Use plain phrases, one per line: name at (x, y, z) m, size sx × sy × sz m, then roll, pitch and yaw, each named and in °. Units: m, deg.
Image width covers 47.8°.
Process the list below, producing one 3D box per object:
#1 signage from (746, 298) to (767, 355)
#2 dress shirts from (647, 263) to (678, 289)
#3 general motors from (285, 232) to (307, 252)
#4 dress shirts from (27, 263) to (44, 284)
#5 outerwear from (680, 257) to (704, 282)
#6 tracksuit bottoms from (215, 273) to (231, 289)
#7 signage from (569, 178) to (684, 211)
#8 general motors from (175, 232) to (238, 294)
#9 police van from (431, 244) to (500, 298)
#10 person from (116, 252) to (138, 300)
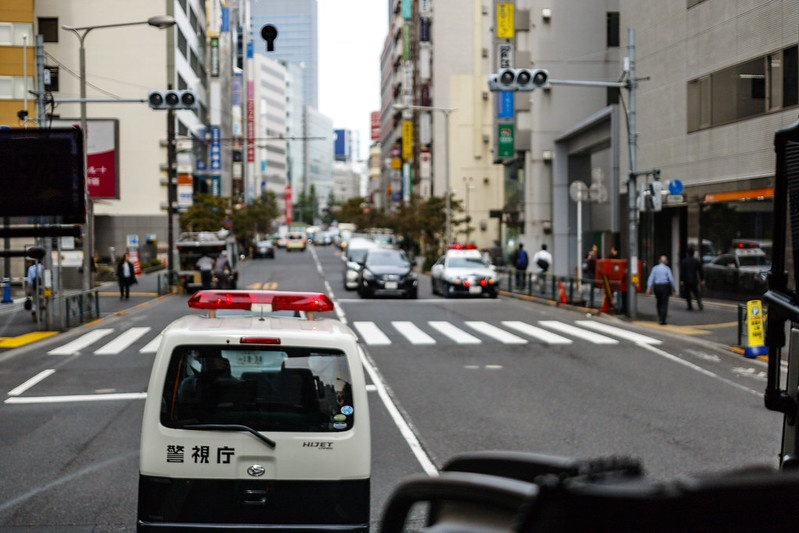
signage at (8.203, 1.366, 20.807) m, size 0.539 × 1.320 × 0.440 m, roll -4°, pitch 18°, yaw 25°
dress shirts at (8.342, 0.307, 28.551) m, size 0.819 × 0.845 × 0.367 m, roll 6°, pitch 19°, yaw 20°
general motors at (-11.762, -2.688, 100.952) m, size 2.062 × 1.875 × 4.775 m, roll 0°, pitch -1°, yaw -4°
dress shirts at (-11.768, 0.223, 29.066) m, size 0.646 × 0.770 × 0.393 m, roll 1°, pitch 4°, yaw -11°
outerwear at (9.655, 0.094, 29.888) m, size 0.713 × 0.858 × 0.446 m, roll 0°, pitch 12°, yaw 7°
tracksuit bottoms at (-7.009, 0.486, 35.186) m, size 0.582 × 0.742 × 0.602 m, roll 0°, pitch -6°, yaw -3°
signage at (7.523, -2.370, 30.685) m, size 3.433 × 1.136 × 8.083 m, roll 0°, pitch 6°, yaw 12°
general motors at (-8.640, -0.076, 39.028) m, size 2.173 × 2.640 × 4.001 m, roll 0°, pitch 5°, yaw -2°
police van at (2.760, 0.239, 37.831) m, size 1.951 × 1.879 × 4.585 m, roll -1°, pitch 0°, yaw -4°
person at (-11.360, 0.384, 37.441) m, size 0.767 × 1.977 × 0.783 m, roll 2°, pitch 11°, yaw -10°
